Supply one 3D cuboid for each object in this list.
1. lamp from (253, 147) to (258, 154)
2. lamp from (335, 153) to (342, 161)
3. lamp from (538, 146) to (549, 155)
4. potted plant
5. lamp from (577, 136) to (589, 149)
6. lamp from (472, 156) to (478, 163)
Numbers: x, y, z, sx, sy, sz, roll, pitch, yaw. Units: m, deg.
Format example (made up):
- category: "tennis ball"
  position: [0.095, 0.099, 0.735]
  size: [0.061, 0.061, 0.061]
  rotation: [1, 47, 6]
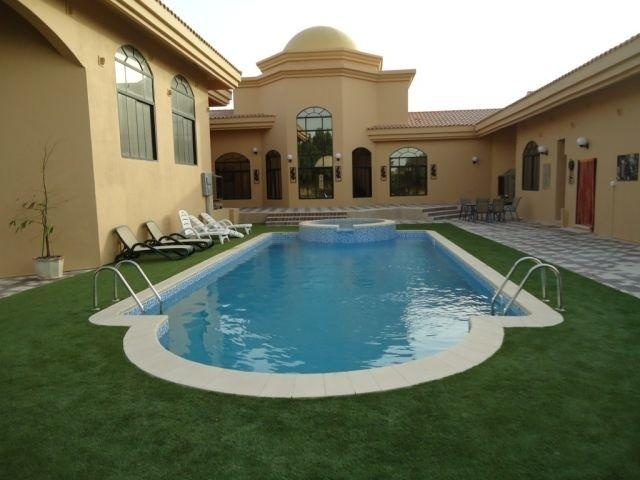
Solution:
- category: "lamp"
  position: [-4.097, -5.697, 24.442]
  size: [0.397, 0.385, 0.291]
  rotation: [-3, 9, -11]
- category: "lamp"
  position: [1.111, -5.074, 23.404]
  size: [0.389, 0.597, 0.325]
  rotation: [-2, 10, -5]
- category: "lamp"
  position: [10.019, -4.052, 17.390]
  size: [0.288, 0.347, 0.399]
  rotation: [-1, 6, 22]
- category: "potted plant"
  position: [-6.816, -0.747, 9.385]
  size: [1.421, 3.156, 0.944]
  rotation: [5, 10, 37]
- category: "lamp"
  position: [9.749, -3.619, 14.317]
  size: [0.364, 0.453, 0.492]
  rotation: [-25, -3, 39]
- category: "lamp"
  position: [9.651, -5.020, 24.041]
  size: [0.317, 0.458, 0.570]
  rotation: [4, 11, 31]
